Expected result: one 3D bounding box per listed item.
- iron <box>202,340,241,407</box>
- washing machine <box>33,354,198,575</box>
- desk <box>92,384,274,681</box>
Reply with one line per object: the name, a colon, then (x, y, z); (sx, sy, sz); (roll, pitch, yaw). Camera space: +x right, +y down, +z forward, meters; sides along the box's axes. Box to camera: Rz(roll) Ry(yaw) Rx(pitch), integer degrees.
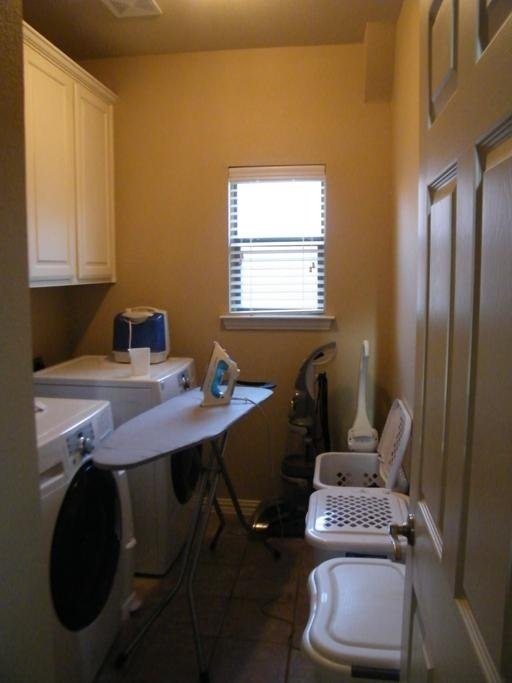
iron: (-0.163, 0.147, 2.321); (0.106, 0.305, 0.135); (4, 8, -1)
washing machine: (-0.628, 0.474, 2.817); (0.639, 1.072, 0.971); (1, 4, 12)
desk: (-0.312, 0.792, 2.185); (0.166, 0.475, 0.752); (1, 8, 11)
